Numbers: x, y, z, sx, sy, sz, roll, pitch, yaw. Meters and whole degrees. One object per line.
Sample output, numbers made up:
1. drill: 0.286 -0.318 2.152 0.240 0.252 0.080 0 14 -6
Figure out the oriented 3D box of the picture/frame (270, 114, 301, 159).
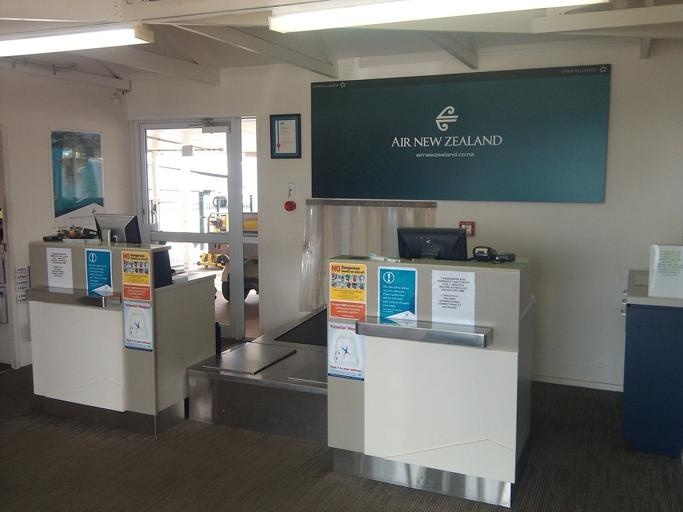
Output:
1. picture/frame: -0.650 -1.433 6.278 0.461 0.615 0.065 5 14 21
